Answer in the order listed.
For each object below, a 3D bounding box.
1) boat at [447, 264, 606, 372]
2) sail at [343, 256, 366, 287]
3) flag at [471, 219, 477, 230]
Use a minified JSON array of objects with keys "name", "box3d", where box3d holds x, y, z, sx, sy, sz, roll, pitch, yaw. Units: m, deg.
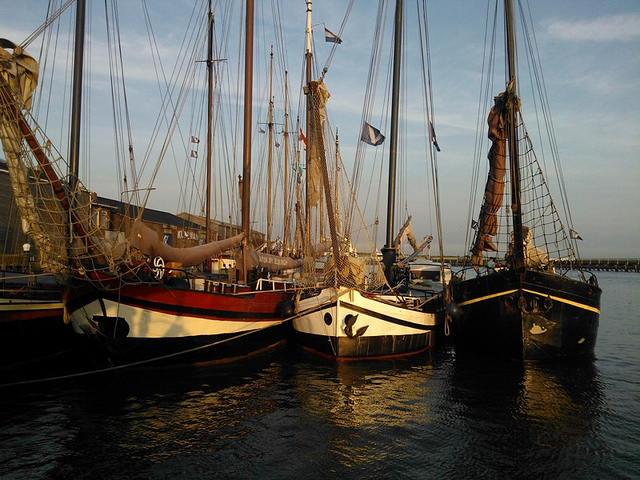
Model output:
[{"name":"boat","box3d":[7.647,2.916,21.724,5.417,4.320,3.200,1,11,-1]},{"name":"sail","box3d":[1.262,1.204,21.319,0.300,1.036,0.698,-5,-33,40]},{"name":"flag","box3d":[5.124,-0.489,19.409,0.116,0.364,0.357,1,5,1]}]
